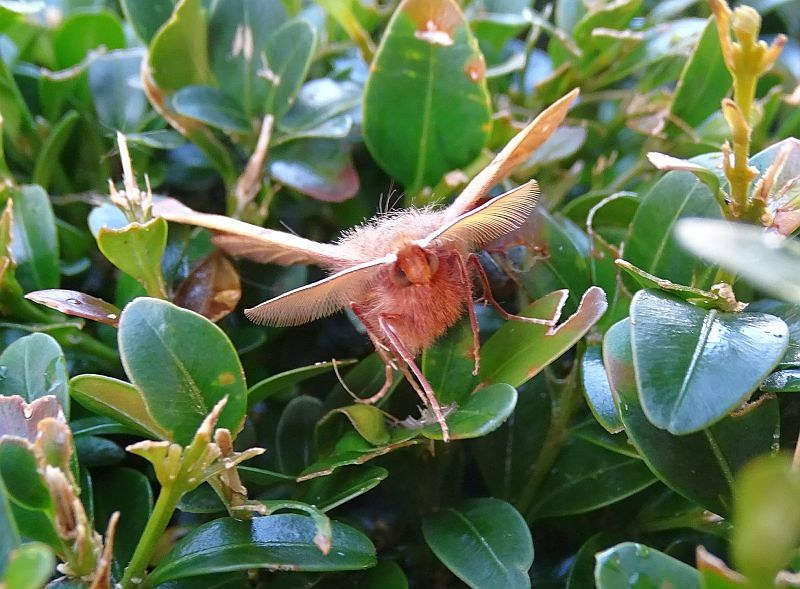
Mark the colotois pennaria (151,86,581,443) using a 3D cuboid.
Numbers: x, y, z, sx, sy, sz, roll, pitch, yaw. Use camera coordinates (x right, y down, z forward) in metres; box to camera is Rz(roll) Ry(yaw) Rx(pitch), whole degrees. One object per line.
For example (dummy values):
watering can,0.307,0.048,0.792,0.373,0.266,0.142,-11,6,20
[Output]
colotois pennaria,-0.020,-0.031,0.950,0.449,0.336,0.352,-12,44,-16
